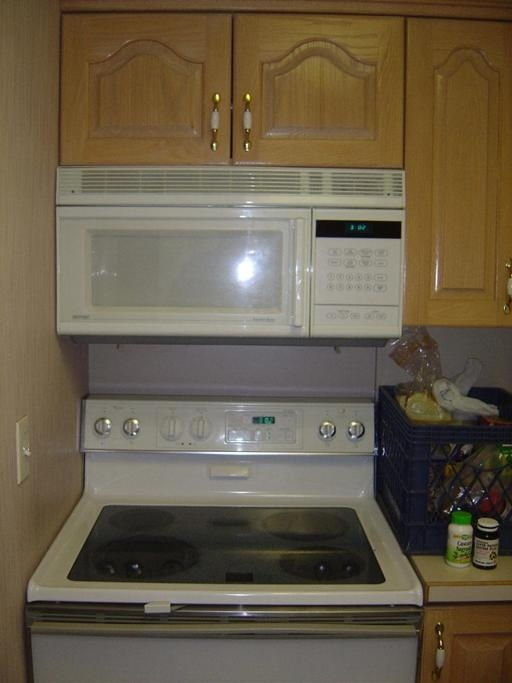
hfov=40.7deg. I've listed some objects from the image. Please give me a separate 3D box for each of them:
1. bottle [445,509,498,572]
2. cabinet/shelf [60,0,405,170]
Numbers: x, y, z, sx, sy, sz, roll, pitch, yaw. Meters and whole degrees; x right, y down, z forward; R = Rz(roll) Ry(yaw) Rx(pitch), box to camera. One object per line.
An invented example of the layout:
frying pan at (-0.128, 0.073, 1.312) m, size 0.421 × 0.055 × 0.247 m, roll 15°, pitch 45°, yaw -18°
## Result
bottle at (0.483, 0.429, 1.529) m, size 0.111 × 0.119 × 0.123 m, roll 3°, pitch 8°, yaw 20°
cabinet/shelf at (-0.051, -0.583, 1.653) m, size 0.771 × 0.324 × 0.247 m, roll 1°, pitch 14°, yaw 3°
